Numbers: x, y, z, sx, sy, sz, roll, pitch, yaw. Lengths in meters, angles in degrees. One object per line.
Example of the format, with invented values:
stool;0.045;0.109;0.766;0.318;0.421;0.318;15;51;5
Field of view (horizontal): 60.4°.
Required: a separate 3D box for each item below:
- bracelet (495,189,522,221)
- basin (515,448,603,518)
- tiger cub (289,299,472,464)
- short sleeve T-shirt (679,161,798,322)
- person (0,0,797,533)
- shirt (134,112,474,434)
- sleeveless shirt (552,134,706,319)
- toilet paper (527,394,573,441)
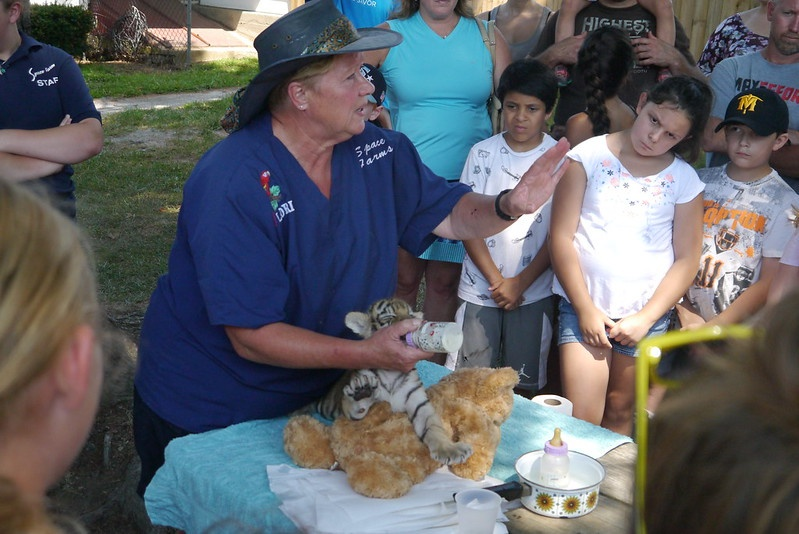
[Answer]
bracelet;0.465;-0.258;2.904;0.049;0.124;0.115;-4;45;23
basin;0.568;0.768;2.425;0.274;0.117;0.288;1;4;0
tiger cub;-0.063;0.498;2.698;0.462;0.590;1.201;-6;-8;-21
short sleeve T-shirt;1.840;-0.148;3.702;0.546;0.809;0.280;9;0;18
person;-0.162;-0.216;3.043;1.140;1.901;2.955;-9;6;-40
shirt;-0.243;-0.002;2.884;1.333;1.227;1.041;-11;26;-32
sleeveless shirt;1.196;-0.219;3.613;0.657;0.864;0.447;11;19;7
toilet paper;0.655;0.627;2.958;0.111;0.078;0.121;9;24;26
